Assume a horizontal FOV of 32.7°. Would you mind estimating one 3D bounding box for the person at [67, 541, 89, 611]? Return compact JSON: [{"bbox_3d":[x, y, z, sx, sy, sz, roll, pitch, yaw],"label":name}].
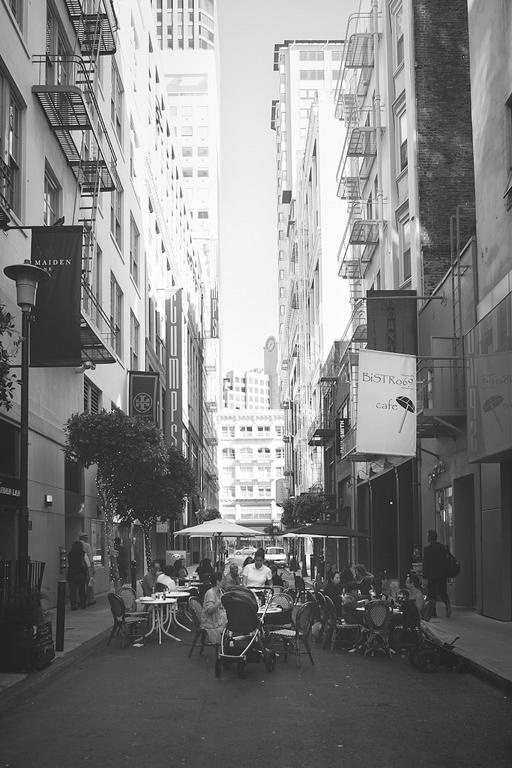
[{"bbox_3d":[-4.167,4.443,20.460,0.470,1.591,1.644,1,-13,-12],"label":"person"}]
